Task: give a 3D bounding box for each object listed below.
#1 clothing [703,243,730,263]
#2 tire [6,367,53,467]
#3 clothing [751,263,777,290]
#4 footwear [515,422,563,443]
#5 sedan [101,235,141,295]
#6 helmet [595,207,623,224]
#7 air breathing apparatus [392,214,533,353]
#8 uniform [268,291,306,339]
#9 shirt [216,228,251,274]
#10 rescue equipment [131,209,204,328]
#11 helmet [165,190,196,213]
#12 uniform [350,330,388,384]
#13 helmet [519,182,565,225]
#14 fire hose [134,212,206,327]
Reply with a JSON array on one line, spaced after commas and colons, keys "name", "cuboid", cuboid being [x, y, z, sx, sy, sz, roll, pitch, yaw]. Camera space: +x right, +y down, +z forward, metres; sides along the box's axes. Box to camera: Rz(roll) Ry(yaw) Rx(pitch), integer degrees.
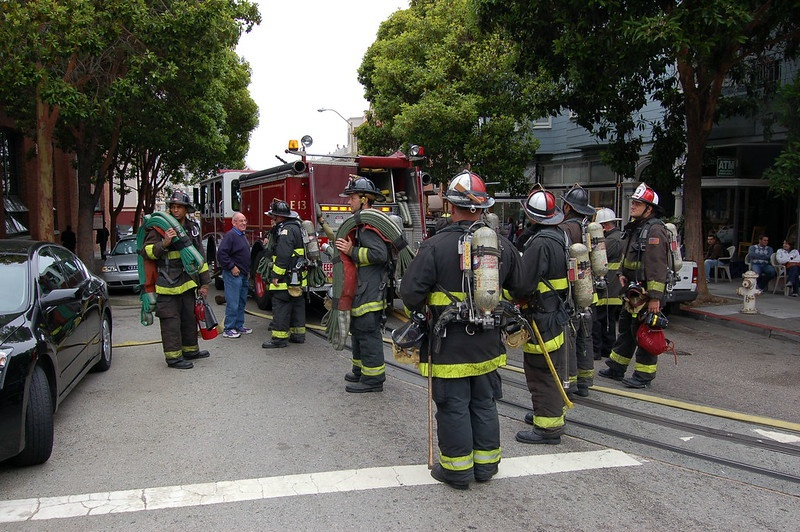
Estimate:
[{"name": "clothing", "cuboid": [9.678, -0.432, 18.997, 0.870, 0.883, 0.682, 2, 7, 27]}, {"name": "tire", "cuboid": [-3.948, 1.646, 6.690, 0.410, 1.051, 0.395, -11, 18, -39]}, {"name": "clothing", "cuboid": [9.452, 0.207, 16.189, 0.638, 0.801, 0.428, 0, -10, 31]}, {"name": "footwear", "cuboid": [1.631, 1.959, 7.302, 0.505, 0.257, 0.215, 7, 1, 7]}, {"name": "sedan", "cuboid": [-7.475, -0.077, 16.509, 1.103, 1.075, 2.421, -1, -1, -18]}, {"name": "helmet", "cuboid": [3.378, -0.823, 10.034, 0.379, 0.221, 0.311, -8, 3, 26]}, {"name": "air breathing apparatus", "cuboid": [0.674, 0.231, 6.515, 1.260, 1.282, 0.462, 1, 14, 4]}, {"name": "uniform", "cuboid": [-1.904, 0.828, 10.654, 0.390, 1.048, 0.773, -5, -5, 26]}, {"name": "shirt", "cuboid": [-3.107, -0.277, 11.770, 0.446, 0.918, 1.035, -2, -2, 26]}, {"name": "rescue equipment", "cuboid": [-3.617, -0.002, 9.633, 1.059, 1.654, 0.421, -6, 3, -20]}, {"name": "helmet", "cuboid": [-3.380, -1.039, 9.738, 0.336, 0.246, 0.442, 12, 6, -6]}, {"name": "uniform", "cuboid": [-0.438, 1.262, 8.631, 0.345, 0.922, 0.720, 3, -4, -29]}, {"name": "helmet", "cuboid": [1.698, -0.727, 7.342, 0.340, 0.226, 0.499, 4, 22, 1]}, {"name": "fire hose", "cuboid": [-3.507, 0.035, 9.294, 1.047, 1.660, 0.380, -3, 1, -12]}]
